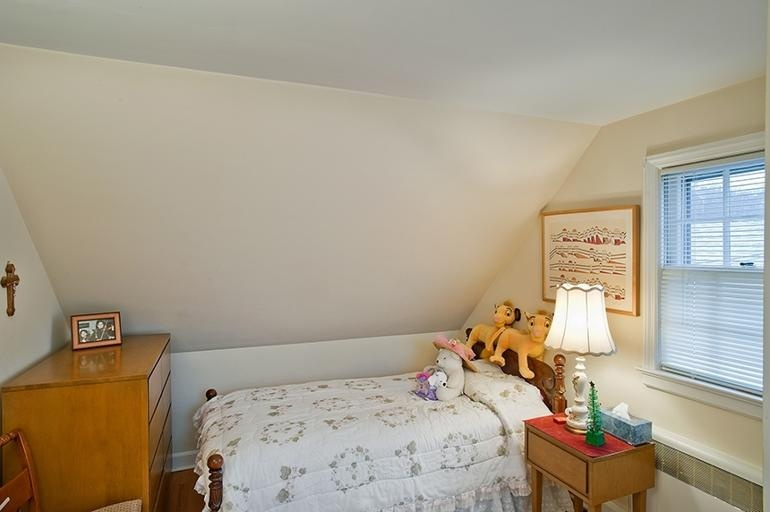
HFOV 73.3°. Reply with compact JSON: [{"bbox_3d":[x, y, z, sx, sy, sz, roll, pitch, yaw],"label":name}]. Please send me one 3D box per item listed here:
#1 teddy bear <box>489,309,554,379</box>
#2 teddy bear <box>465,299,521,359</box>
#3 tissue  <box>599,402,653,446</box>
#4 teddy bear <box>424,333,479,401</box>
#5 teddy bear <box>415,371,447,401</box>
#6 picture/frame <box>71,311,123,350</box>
[{"bbox_3d":[1.211,0.752,4.571,0.376,0.583,0.597,4,7,-31],"label":"teddy bear"},{"bbox_3d":[1.111,0.738,4.975,0.283,0.620,0.664,15,-12,22],"label":"teddy bear"},{"bbox_3d":[1.699,1.100,3.641,0.197,0.177,0.364,-4,6,-32],"label":"tissue "},{"bbox_3d":[0.606,0.987,4.612,0.420,0.557,0.516,0,8,-31],"label":"teddy bear"},{"bbox_3d":[0.390,1.128,4.530,0.232,0.175,0.232,13,-11,-16],"label":"teddy bear"},{"bbox_3d":[-2.335,0.607,4.186,0.279,0.240,0.028,5,-13,-34],"label":"picture/frame"}]
